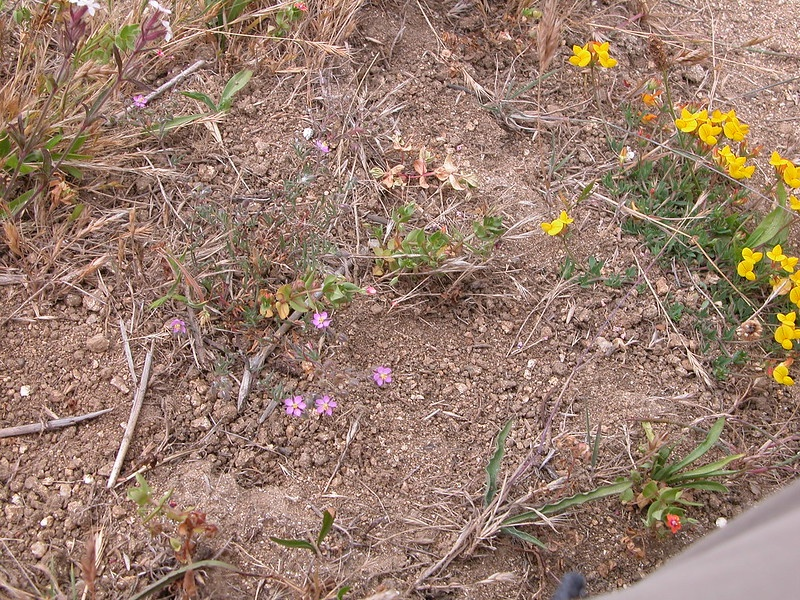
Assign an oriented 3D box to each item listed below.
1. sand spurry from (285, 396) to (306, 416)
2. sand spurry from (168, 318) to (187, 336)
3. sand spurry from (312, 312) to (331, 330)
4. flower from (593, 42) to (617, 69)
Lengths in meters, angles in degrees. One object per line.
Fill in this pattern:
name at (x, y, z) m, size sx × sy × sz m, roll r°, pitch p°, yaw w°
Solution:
sand spurry at (-0.353, 0.361, 2.369) m, size 0.065 × 0.014 × 0.070 m, roll -16°, pitch 69°, yaw -16°
sand spurry at (-0.772, 0.097, 2.443) m, size 0.060 × 0.072 × 0.062 m, roll -3°, pitch 51°, yaw -25°
sand spurry at (-0.269, 0.079, 2.446) m, size 0.055 × 0.026 × 0.059 m, roll 6°, pitch 78°, yaw -20°
flower at (0.809, -0.973, 2.786) m, size 0.099 × 0.082 × 0.076 m, roll 21°, pitch 45°, yaw -4°
